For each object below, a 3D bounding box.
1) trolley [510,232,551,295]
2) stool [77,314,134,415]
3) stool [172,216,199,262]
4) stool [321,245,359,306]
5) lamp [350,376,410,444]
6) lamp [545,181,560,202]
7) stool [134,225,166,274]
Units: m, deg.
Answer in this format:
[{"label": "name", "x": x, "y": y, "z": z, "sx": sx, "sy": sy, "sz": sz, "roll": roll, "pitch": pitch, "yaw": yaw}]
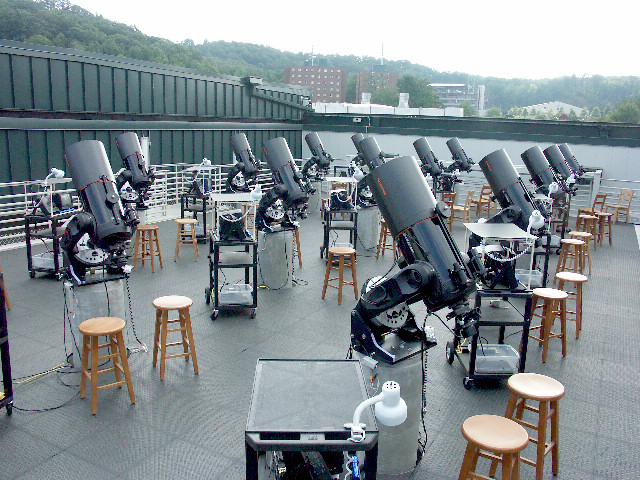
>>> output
[{"label": "trolley", "x": 4.522, "y": 0.396, "z": 10.382, "sx": 0.566, "sy": 1.006, "sz": 1.024, "roll": -6, "pitch": 17, "yaw": 17}, {"label": "stool", "x": -2.941, "y": 1.729, "z": 6.587, "sx": 0.636, "sy": 1.047, "sz": 0.623, "roll": -6, "pitch": 8, "yaw": -37}, {"label": "stool", "x": -3.665, "y": -0.020, "z": 13.118, "sx": 0.812, "sy": 0.906, "sz": 0.790, "roll": 1, "pitch": 2, "yaw": 41}, {"label": "stool", "x": 0.462, "y": 0.776, "z": 10.379, "sx": 0.689, "sy": 1.022, "sz": 0.657, "roll": 8, "pitch": 11, "yaw": 41}, {"label": "lamp", "x": 0.467, "y": 1.362, "z": 3.885, "sx": 0.562, "sy": 0.337, "sz": 0.275, "roll": -17, "pitch": 29, "yaw": -28}, {"label": "lamp", "x": 5.837, "y": -1.236, "z": 12.055, "sx": 0.261, "sy": 0.487, "sz": 0.476, "roll": 16, "pitch": -16, "yaw": 28}, {"label": "stool", "x": -4.352, "y": 0.155, "z": 12.020, "sx": 0.774, "sy": 1.000, "sz": 0.752, "roll": -11, "pitch": 21, "yaw": -40}]
